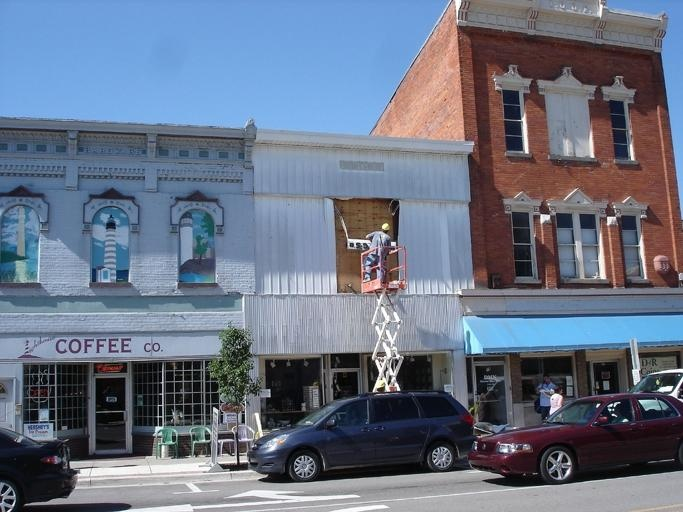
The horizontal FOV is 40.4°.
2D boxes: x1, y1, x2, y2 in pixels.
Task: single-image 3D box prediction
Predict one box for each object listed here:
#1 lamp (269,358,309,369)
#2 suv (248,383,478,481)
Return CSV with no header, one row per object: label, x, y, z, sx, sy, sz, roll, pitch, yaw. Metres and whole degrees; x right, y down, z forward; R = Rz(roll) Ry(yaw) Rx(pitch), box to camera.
lamp,-1.729,3.532,30.792,0.931,0.337,0.185,-4,4,-6
suv,0.553,4.834,25.594,5.784,1.832,2.503,2,-10,-11
